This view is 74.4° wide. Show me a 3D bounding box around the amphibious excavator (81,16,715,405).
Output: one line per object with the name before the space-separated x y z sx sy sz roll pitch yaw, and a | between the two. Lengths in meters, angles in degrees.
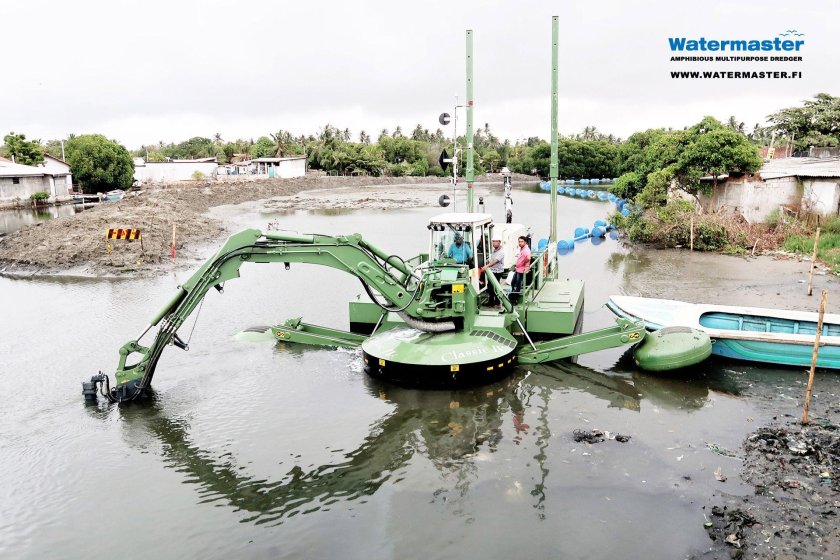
amphibious excavator | 0.119 -1.172 14.638 13.446 7.273 4.856 -4 10 -6

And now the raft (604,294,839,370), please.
raft | 7.763 1.777 15.289 6.104 1.771 2.177 3 27 26

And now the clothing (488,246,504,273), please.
clothing | 2.081 -0.592 15.613 0.545 0.809 0.929 4 7 12

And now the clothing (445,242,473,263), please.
clothing | 1.064 -0.680 14.533 0.927 0.733 0.487 1 -2 5
